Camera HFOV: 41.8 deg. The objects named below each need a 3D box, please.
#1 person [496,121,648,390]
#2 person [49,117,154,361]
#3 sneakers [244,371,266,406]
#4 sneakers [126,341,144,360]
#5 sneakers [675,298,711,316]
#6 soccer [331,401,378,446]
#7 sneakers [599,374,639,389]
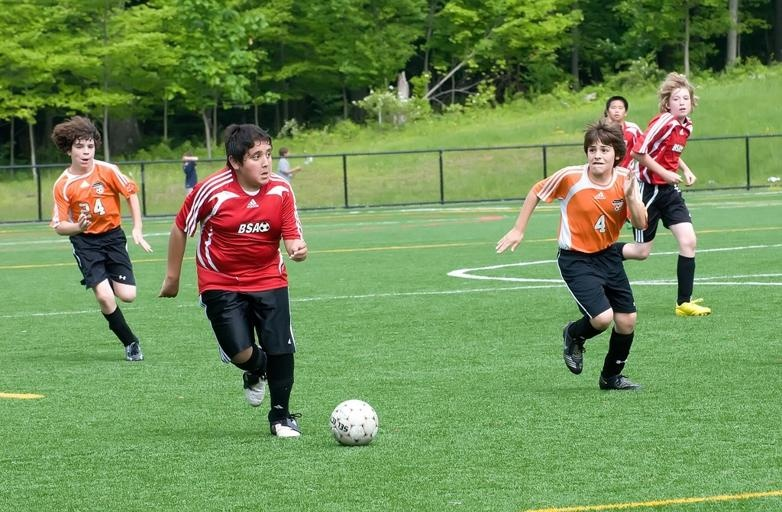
[{"bbox_3d":[2.020,0.022,10.436,1.174,2.702,0.523,-2,6,11],"label":"person"},{"bbox_3d":[-3.393,-0.215,12.015,1.051,2.820,0.767,-5,6,-17],"label":"person"},{"bbox_3d":[-1.297,1.269,9.825,0.183,0.352,0.157,-3,15,-1],"label":"sneakers"},{"bbox_3d":[-2.964,1.104,11.867,0.202,0.204,0.325,-5,5,-15],"label":"sneakers"},{"bbox_3d":[3.812,0.665,12.916,0.390,0.155,0.208,0,4,6],"label":"sneakers"},{"bbox_3d":[-0.316,1.510,9.427,0.411,0.381,0.414,4,-2,16],"label":"soccer"},{"bbox_3d":[2.343,1.287,10.475,0.384,0.128,0.152,-1,2,4],"label":"sneakers"}]
